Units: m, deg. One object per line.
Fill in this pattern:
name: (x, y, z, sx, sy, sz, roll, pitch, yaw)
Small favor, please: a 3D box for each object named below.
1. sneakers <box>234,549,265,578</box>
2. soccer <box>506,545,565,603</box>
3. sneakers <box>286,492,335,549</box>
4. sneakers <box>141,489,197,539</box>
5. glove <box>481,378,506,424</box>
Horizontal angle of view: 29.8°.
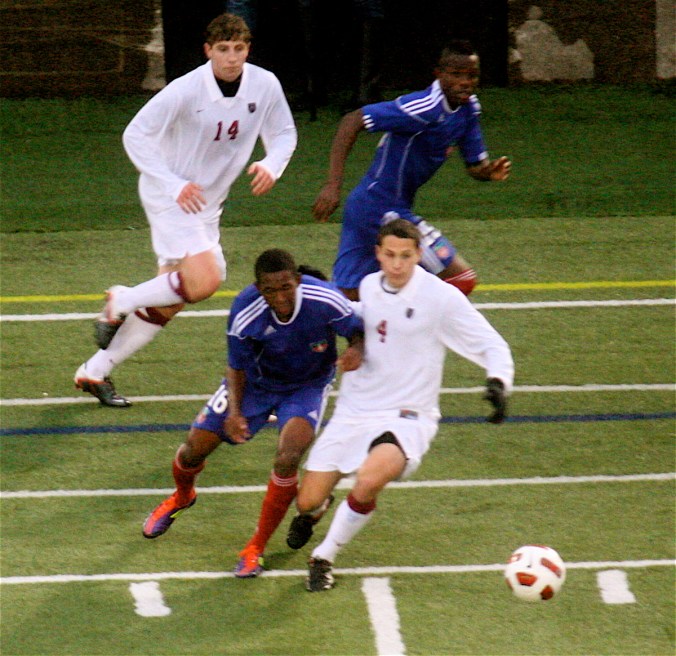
sneakers: (-0.438, 1.149, 6.290, 0.132, 0.128, 0.145, 6, 14, 7)
soccer: (0.903, 1.150, 6.006, 0.318, 0.202, 0.250, 6, -3, -7)
sneakers: (-0.156, 0.985, 6.473, 0.144, 0.142, 0.365, 40, 54, 8)
sneakers: (-0.890, 0.949, 6.613, 0.132, 0.394, 0.146, 54, -13, 4)
glove: (0.743, 0.351, 6.115, 0.110, 0.236, 0.275, 7, 14, 6)
